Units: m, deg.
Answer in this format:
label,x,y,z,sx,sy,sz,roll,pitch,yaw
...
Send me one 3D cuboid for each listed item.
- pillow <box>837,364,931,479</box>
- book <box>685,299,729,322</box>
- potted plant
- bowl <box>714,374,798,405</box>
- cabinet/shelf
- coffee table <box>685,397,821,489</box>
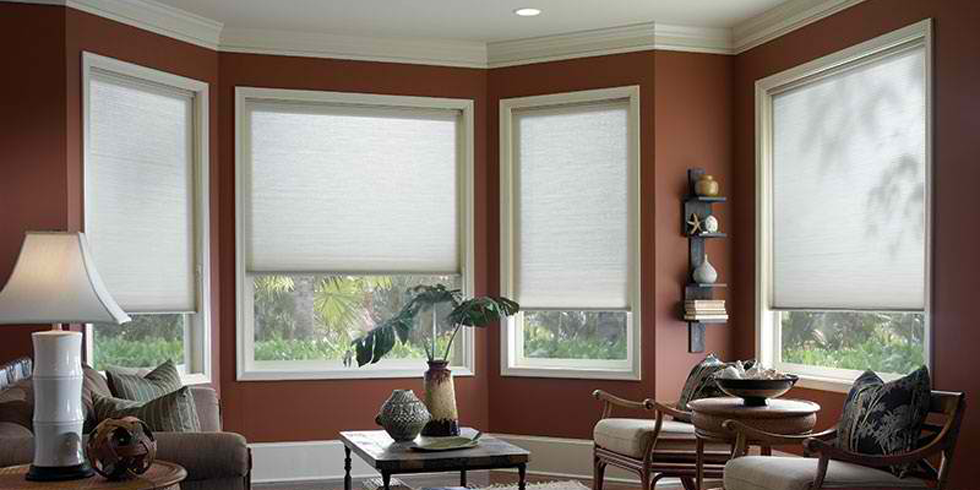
label,x,y,z,sx,sy,sz,roll,pitch,yaw
pillow,3.262,1.426,5.829,0.506,0.735,0.901,-1,-8,-5
book,2.364,0.708,7.677,0.493,0.249,0.153,0,-3,-5
potted plant,-0.502,1.107,6.753,1.909,1.259,1.477,-1,-12,-14
bowl,2.354,1.333,6.344,0.629,0.181,0.637,-2,-16,-1
cabinet/shelf,2.350,0.157,7.684,0.523,2.029,0.257,0,-3,-5
coffee table,2.341,1.694,6.441,1.043,0.846,0.937,0,-9,-5
